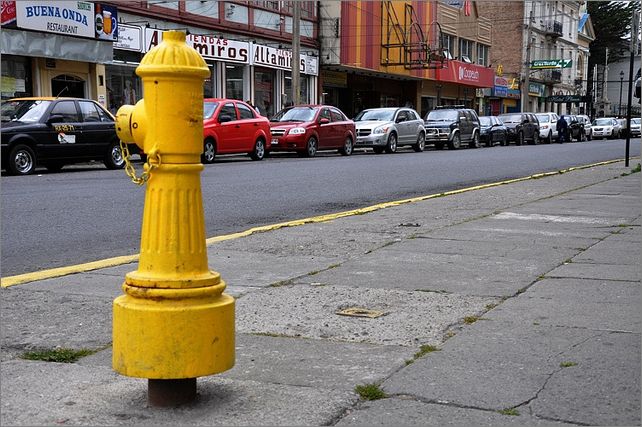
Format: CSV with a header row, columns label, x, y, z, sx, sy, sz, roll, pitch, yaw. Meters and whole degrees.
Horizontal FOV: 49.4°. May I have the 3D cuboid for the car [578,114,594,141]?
label,x,y,z,sx,sy,sz,roll,pitch,yaw
car,19.637,-6.387,52.301,1.526,1.357,2.873,-1,2,29

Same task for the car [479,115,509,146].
label,x,y,z,sx,sy,sz,roll,pitch,yaw
car,9.403,-4.544,38.211,1.283,1.060,2.156,1,4,36

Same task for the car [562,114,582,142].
label,x,y,z,sx,sy,sz,roll,pitch,yaw
car,17.411,-5.937,48.842,1.316,1.259,2.797,-1,2,33

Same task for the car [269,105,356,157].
label,x,y,z,sx,sy,sz,roll,pitch,yaw
car,-0.497,-3.120,26.003,1.824,1.227,2.873,1,2,33

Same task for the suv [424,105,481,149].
label,x,y,z,sx,sy,sz,roll,pitch,yaw
suv,6.516,-4.291,35.183,1.789,1.527,3.160,2,4,34

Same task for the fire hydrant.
label,x,y,z,sx,sy,sz,roll,pitch,yaw
fire hydrant,-0.936,0.017,4.347,0.756,2.275,0.539,-1,8,-3

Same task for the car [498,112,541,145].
label,x,y,z,sx,sy,sz,roll,pitch,yaw
car,11.711,-5.011,40.989,1.495,1.181,2.644,2,6,34

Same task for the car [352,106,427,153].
label,x,y,z,sx,sy,sz,roll,pitch,yaw
car,2.830,-3.518,30.019,1.471,1.924,4.112,6,11,38

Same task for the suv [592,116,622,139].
label,x,y,z,sx,sy,sz,roll,pitch,yaw
suv,23.312,-6.991,56.938,1.876,1.679,3.945,1,5,32
